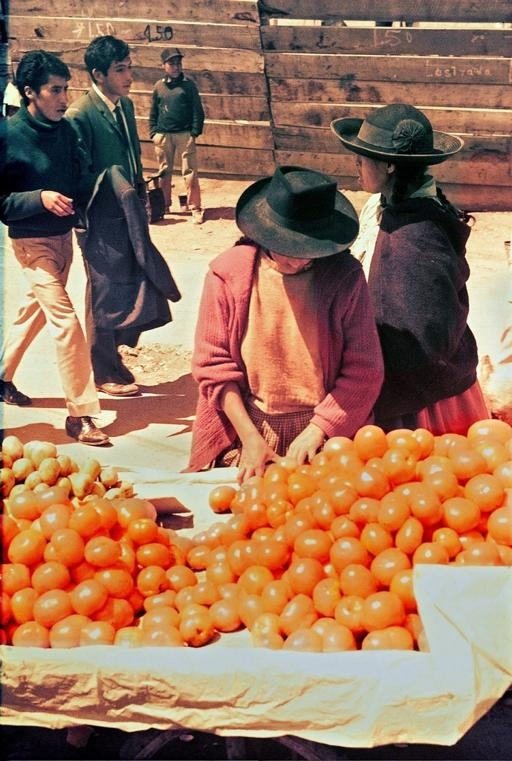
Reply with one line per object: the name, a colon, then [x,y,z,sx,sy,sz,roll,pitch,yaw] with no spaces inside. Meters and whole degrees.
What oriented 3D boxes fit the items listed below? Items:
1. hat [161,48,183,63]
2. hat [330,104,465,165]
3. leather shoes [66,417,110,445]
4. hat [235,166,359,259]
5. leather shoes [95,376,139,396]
hat: [-0.824,-3.159,6.746,0.197,0.109,0.238,-10,0,-6]
hat: [0.467,-0.894,2.470,0.259,0.089,0.280,-4,-2,29]
leather shoes: [-1.120,0.313,4.630,0.354,0.147,0.144,16,24,24]
hat: [0.121,-0.502,2.066,0.363,0.265,0.432,-5,20,0]
leather shoes: [-1.050,0.052,5.244,0.291,0.101,0.122,-2,4,4]
